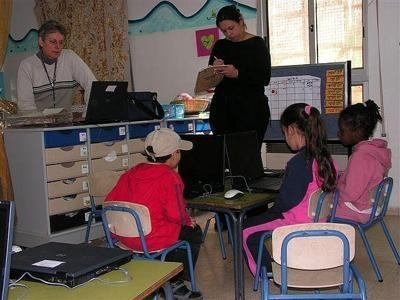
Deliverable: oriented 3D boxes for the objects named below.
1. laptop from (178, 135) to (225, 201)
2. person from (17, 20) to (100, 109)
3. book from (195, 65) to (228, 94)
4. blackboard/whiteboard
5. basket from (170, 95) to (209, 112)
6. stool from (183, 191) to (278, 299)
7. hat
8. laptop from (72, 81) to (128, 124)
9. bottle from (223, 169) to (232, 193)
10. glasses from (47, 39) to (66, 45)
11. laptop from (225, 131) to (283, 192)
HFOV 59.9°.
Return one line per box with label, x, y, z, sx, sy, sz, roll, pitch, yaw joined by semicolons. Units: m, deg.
laptop;0.018;0.129;2.471;0.400;0.520;0.053;-1;0;28
person;-1.665;-0.959;3.969;0.813;0.993;0.457;-7;7;-27
book;0.086;-0.629;3.138;0.270;0.244;0.555;-3;7;2
blackboard/whiteboard;1.107;-0.517;3.517;0.937;0.748;0.035;2;3;30
basket;-0.114;-0.662;4.841;0.442;0.280;0.690;0;8;26
stool;0.253;0.569;2.412;0.615;0.508;0.617;2;6;39
hat;-0.212;-0.070;2.324;0.168;0.150;0.272;14;25;40
laptop;-1.010;-0.488;3.597;0.507;0.420;0.509;2;37;-21
bottle;0.214;0.241;2.714;0.102;0.123;0.215;-1;16;-1
glasses;-1.600;-1.199;3.851;0.109;0.059;0.141;-8;4;-35
laptop;0.390;0.092;2.601;0.353;0.411;0.571;1;4;29
